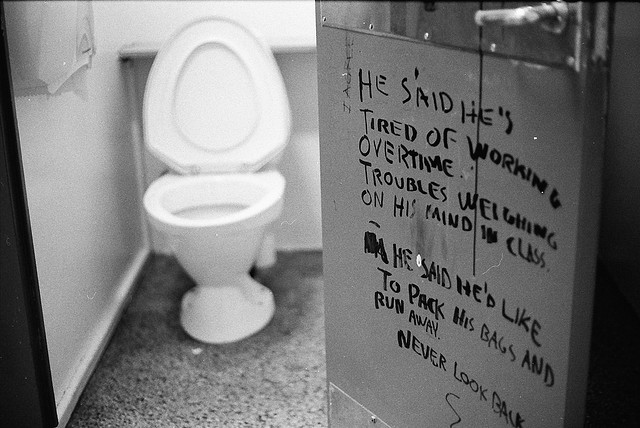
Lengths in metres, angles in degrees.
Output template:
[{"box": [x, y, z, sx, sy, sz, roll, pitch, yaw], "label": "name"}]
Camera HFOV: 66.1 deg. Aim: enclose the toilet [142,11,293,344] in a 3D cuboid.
[{"box": [-0.310, -0.079, 1.483, 0.454, 0.937, 0.304, -1, 27, -3], "label": "toilet"}]
